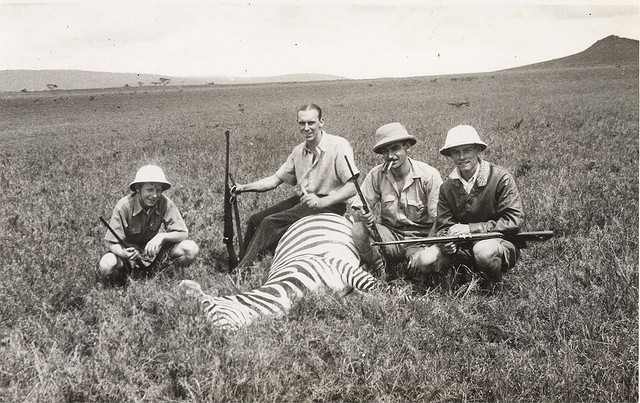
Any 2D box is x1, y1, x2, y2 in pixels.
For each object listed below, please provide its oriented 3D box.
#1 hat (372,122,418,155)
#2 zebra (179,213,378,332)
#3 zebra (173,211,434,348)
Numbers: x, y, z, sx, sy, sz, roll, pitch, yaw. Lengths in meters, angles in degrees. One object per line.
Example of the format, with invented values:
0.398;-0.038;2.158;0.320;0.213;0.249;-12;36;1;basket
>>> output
1.029;-0.828;8.641;0.429;0.199;0.465;-18;-19;5;hat
-0.438;0.822;8.095;2.369;0.820;1.443;-8;17;-22;zebra
-0.251;0.906;8.038;2.853;0.962;1.699;-5;16;-13;zebra
